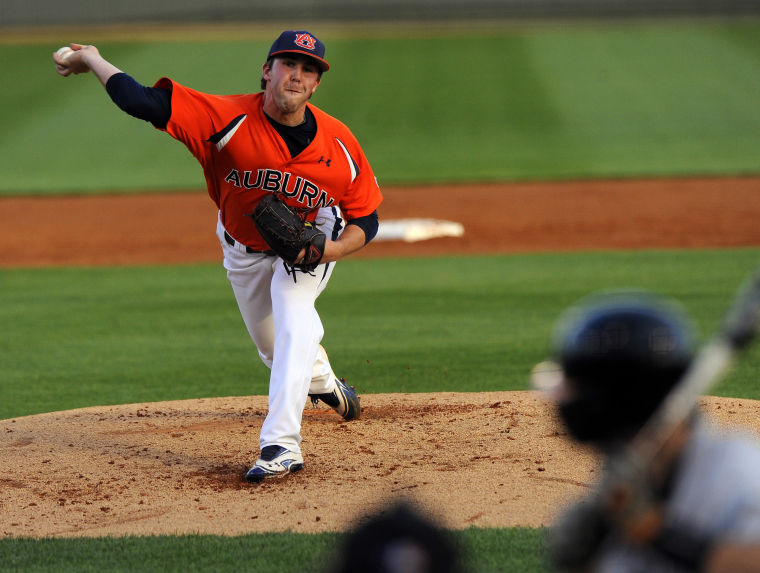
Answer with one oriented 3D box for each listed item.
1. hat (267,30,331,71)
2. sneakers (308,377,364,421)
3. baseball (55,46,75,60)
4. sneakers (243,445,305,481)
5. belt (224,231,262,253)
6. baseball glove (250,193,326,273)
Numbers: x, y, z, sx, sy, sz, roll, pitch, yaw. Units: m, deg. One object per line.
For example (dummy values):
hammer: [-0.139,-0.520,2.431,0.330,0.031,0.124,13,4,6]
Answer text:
hat: [-0.764,-2.079,12.157,0.356,0.227,0.456,6,3,-32]
sneakers: [-0.335,0.994,13.011,0.235,0.266,0.642,-5,13,-38]
baseball: [-2.771,-2.042,12.129,0.122,0.057,0.148,-8,9,-5]
sneakers: [-0.908,1.512,12.019,0.492,0.214,0.253,-5,-2,-36]
belt: [-1.225,-0.411,12.334,0.240,0.063,0.218,33,6,-1]
baseball glove: [-0.791,-0.449,11.930,0.488,0.677,0.290,-42,20,-11]
